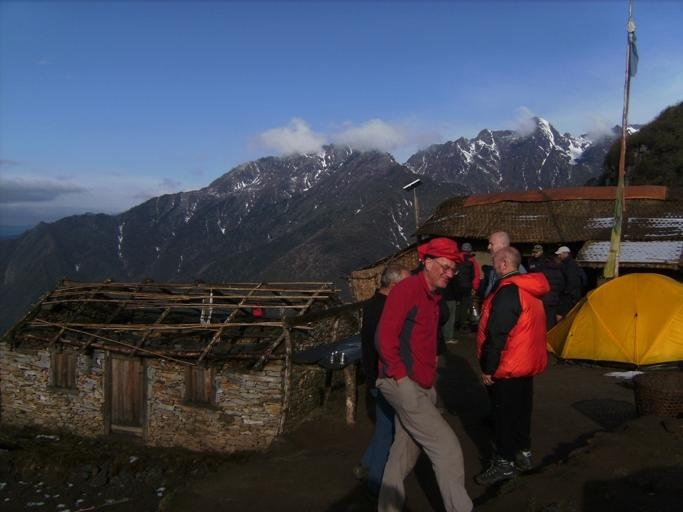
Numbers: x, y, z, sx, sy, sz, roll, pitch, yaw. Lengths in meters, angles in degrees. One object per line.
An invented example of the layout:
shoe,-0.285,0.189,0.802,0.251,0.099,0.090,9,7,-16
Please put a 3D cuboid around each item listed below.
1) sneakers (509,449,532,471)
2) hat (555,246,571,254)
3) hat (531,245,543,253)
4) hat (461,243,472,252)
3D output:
sneakers,2.690,3.032,8.271,0.223,0.161,0.390,-4,-9,14
hat,5.800,-0.162,14.617,0.341,0.165,0.237,2,2,22
hat,5.505,-0.220,15.675,0.226,0.294,0.117,8,-3,9
hat,2.830,-0.194,12.640,0.388,0.169,0.536,1,6,22
